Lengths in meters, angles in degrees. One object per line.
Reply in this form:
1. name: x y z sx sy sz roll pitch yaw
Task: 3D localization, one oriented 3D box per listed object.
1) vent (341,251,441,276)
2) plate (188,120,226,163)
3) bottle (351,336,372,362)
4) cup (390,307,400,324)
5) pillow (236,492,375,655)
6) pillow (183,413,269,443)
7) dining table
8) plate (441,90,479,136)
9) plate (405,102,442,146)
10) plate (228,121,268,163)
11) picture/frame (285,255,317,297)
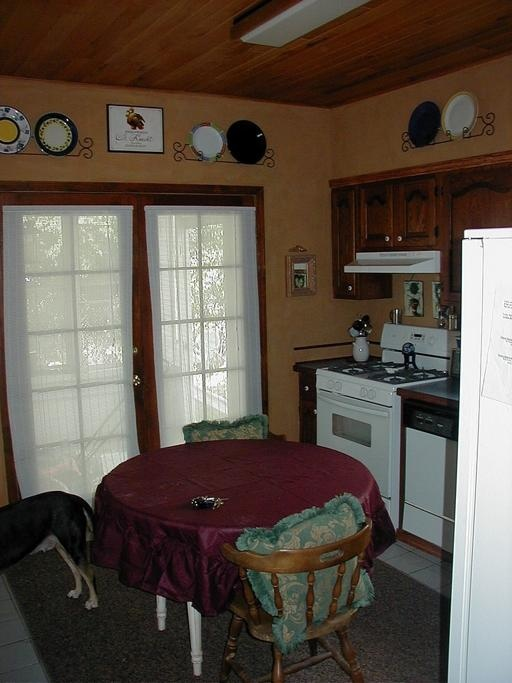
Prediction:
1. vent: 0.881 -0.537 3.595 0.131 0.214 0.865 -2 3 -25
2. plate: -0.346 -1.372 3.656 0.235 0.231 0.070 -34 28 -29
3. bottle: 0.805 0.068 4.135 0.122 0.189 0.249 -1 2 8
4. cup: 1.042 -0.186 3.982 0.083 0.111 0.077 -1 2 0
5. pillow: 0.188 0.712 1.646 0.494 0.405 0.246 -3 3 -35
6. pillow: -0.170 0.483 2.921 0.458 0.111 0.172 -1 2 -5
7. dining table: -0.068 0.639 2.077 0.973 0.516 0.950 -3 8 -17
8. plate: 1.191 -1.318 3.113 0.090 0.238 0.230 -2 3 -27
9. plate: 1.075 -1.385 3.404 0.032 0.240 0.240 -5 30 -27
10. plate: -0.080 -1.426 3.817 0.316 0.295 0.053 -2 3 -32
11. picture/frame: 0.331 -0.515 4.142 0.324 0.366 0.038 -4 6 -32
